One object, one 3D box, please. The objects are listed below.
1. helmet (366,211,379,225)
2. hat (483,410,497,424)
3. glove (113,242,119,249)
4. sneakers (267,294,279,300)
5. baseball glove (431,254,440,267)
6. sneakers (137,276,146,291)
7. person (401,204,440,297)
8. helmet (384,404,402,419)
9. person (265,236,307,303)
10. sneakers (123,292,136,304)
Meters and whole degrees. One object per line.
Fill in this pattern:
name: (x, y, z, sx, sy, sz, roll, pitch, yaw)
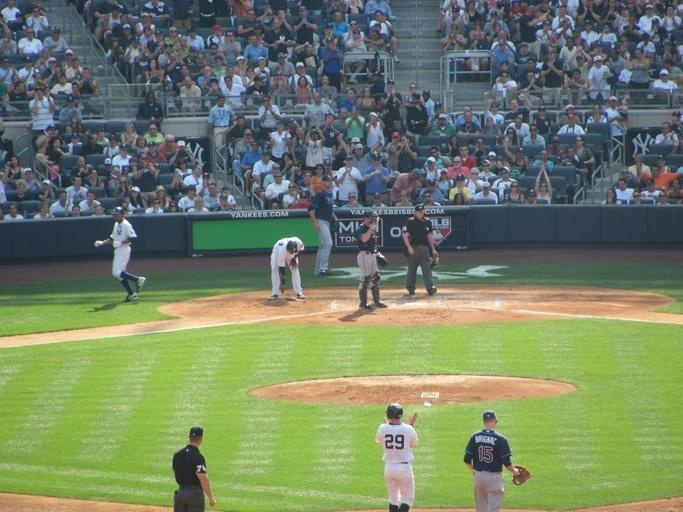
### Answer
helmet: (0.695, -0.926, 33.306, 0.301, 0.328, 0.509, -3, 13, 4)
hat: (2.582, 2.774, 23.661, 0.207, 0.248, 0.244, 1, 27, 6)
glove: (-5.805, -0.261, 34.869, 0.150, 0.164, 0.188, 1, -12, 3)
sneakers: (-1.743, 1.040, 34.741, 0.256, 0.102, 0.115, 2, 7, 18)
baseball glove: (2.471, 0.122, 35.031, 0.209, 0.318, 0.335, -1, -2, 6)
sneakers: (-5.245, 0.722, 35.350, 0.196, 0.149, 0.445, -4, -25, -7)
person: (1.988, -0.094, 34.713, 0.724, 2.340, 0.739, -4, 14, 3)
helmet: (0.915, 2.718, 23.947, 0.272, 0.235, 0.209, -7, 1, 31)
person: (-1.394, 0.244, 34.381, 1.045, 1.817, 1.207, -10, 29, -20)
sneakers: (-5.499, 1.089, 34.997, 0.386, 0.140, 0.177, -14, -17, 24)
